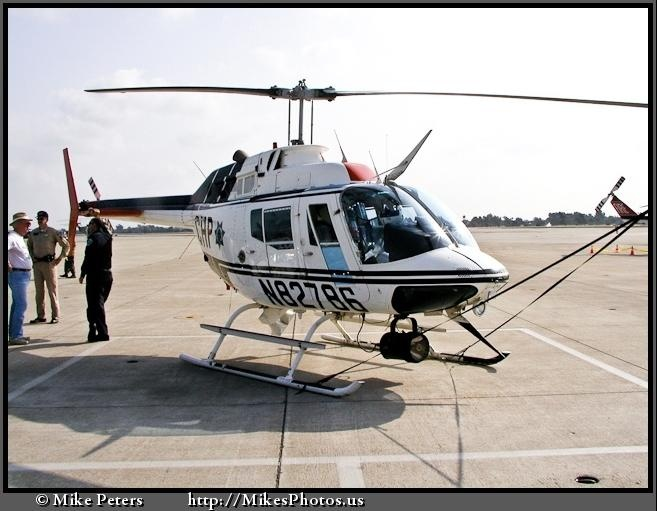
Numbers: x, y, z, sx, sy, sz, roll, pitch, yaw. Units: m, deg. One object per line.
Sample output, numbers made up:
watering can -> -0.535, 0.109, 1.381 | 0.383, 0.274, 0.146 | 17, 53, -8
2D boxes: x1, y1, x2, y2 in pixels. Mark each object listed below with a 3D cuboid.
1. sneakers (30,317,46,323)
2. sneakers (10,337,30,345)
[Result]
sneakers -> -6.113, 1.366, 10.523 | 0.246, 0.068, 0.107 | 3, -1, -5
sneakers -> -5.509, 1.498, 8.924 | 0.294, 0.121, 0.353 | -3, 8, -20
